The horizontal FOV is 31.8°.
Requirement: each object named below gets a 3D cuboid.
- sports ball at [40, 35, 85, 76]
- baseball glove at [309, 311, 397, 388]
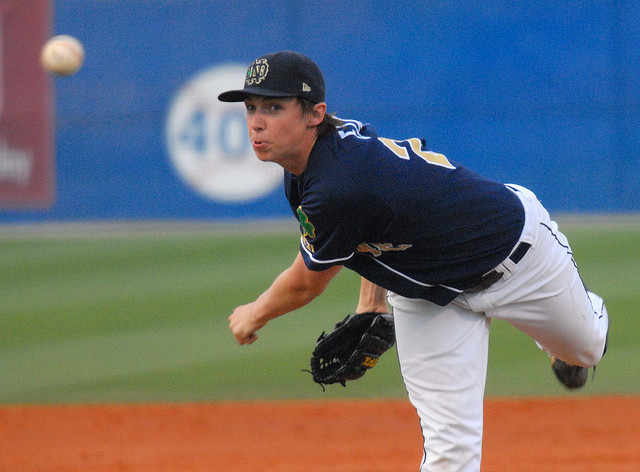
[{"bbox_3d":[-1.900,-1.346,8.386,0.242,0.307,0.355,5,17,16],"label":"sports ball"},{"bbox_3d":[0.185,0.727,7.288,0.620,0.363,0.290,-43,25,-21],"label":"baseball glove"}]
